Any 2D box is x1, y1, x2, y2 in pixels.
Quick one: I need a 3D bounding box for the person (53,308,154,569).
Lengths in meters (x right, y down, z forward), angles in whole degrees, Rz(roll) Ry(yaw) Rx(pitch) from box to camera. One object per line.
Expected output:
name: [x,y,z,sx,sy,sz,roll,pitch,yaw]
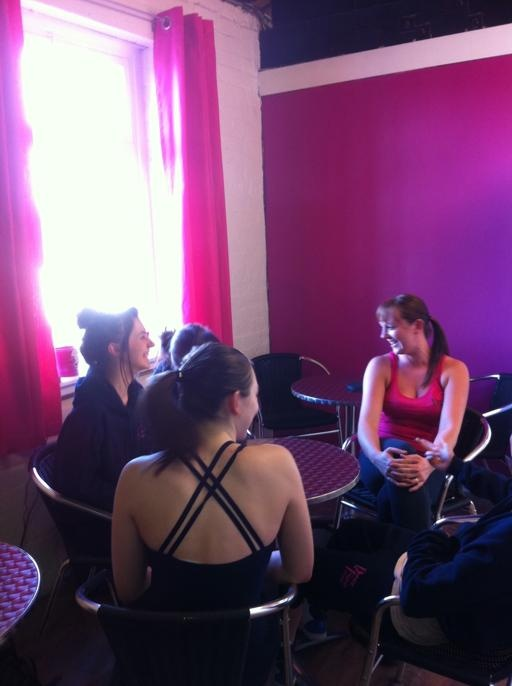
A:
person: [-0.501,0.370,2.069,0.420,1.047,0.380,4,-3,-27]
